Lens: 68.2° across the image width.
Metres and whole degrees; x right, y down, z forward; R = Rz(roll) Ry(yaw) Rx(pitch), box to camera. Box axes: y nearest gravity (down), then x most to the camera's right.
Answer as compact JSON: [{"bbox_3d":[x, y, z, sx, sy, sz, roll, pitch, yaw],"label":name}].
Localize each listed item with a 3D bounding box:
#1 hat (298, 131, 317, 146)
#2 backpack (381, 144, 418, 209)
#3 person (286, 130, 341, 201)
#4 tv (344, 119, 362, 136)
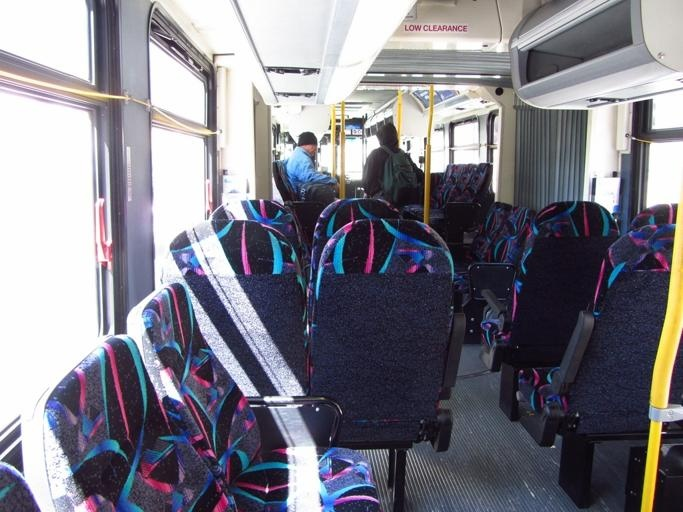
[{"bbox_3d":[-0.428,-1.467,6.483,0.166,0.162,0.189,3,21,5],"label":"hat"},{"bbox_3d":[0.744,-1.012,6.518,0.410,0.700,0.331,-7,8,-42],"label":"backpack"},{"bbox_3d":[-0.450,-1.044,6.605,0.499,1.082,0.694,0,16,-27],"label":"person"},{"bbox_3d":[0.296,-3.088,12.320,0.403,0.427,0.735,-1,12,-5],"label":"tv"}]
